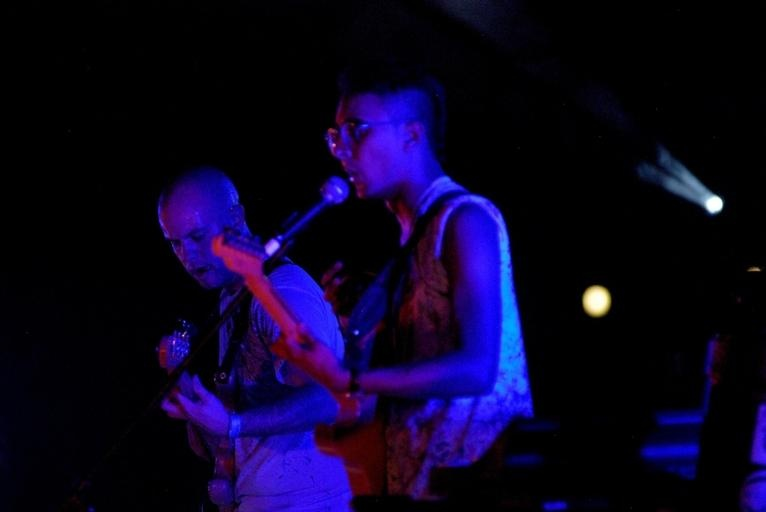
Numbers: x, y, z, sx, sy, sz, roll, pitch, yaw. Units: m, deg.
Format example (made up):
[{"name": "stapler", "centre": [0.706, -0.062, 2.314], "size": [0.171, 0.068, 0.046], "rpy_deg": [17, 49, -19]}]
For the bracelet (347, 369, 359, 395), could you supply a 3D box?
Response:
[{"name": "bracelet", "centre": [-0.165, 0.707, 4.286], "size": [0.029, 0.122, 0.082], "rpy_deg": [-5, 3, 6]}]

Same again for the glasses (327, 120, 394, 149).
[{"name": "glasses", "centre": [-0.179, -0.762, 4.680], "size": [0.229, 0.080, 0.219], "rpy_deg": [-6, -2, -30]}]

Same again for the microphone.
[{"name": "microphone", "centre": [-0.436, -0.228, 4.467], "size": [0.640, 0.170, 0.170], "rpy_deg": [-42, 21, -4]}]

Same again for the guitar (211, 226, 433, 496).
[{"name": "guitar", "centre": [-0.391, 0.725, 4.860], "size": [0.849, 2.242, 0.243], "rpy_deg": [-22, 22, -11]}]
